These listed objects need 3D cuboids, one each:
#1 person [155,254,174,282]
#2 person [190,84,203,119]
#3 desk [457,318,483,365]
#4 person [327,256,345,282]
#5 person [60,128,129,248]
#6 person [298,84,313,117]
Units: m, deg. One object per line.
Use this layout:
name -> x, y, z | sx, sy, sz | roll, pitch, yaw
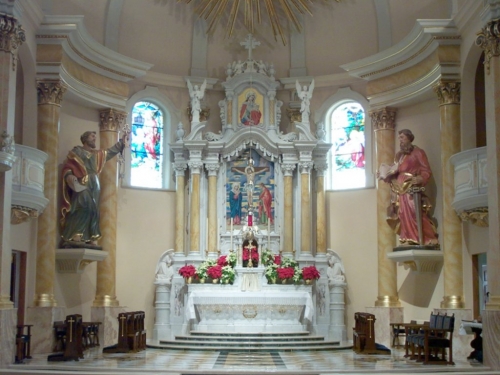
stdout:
person -> -2.357, 2.190, 23.301 | 0.481, 0.806, 0.362 | 2, -12, -7
person -> -1.525, -2.436, 24.197 | 0.373, 1.274, 0.639 | 1, -12, -3
desk -> 4.920, 3.277, 18.393 | 0.715, 0.672, 1.412 | -3, -10, 9
person -> 2.351, 2.207, 23.263 | 0.441, 0.788, 0.381 | -1, -12, 5
person -> -4.166, 0.005, 21.600 | 1.334, 2.997, 0.601 | 3, -12, -12
person -> 1.585, -2.507, 24.095 | 0.481, 1.122, 0.818 | -1, -12, 6
